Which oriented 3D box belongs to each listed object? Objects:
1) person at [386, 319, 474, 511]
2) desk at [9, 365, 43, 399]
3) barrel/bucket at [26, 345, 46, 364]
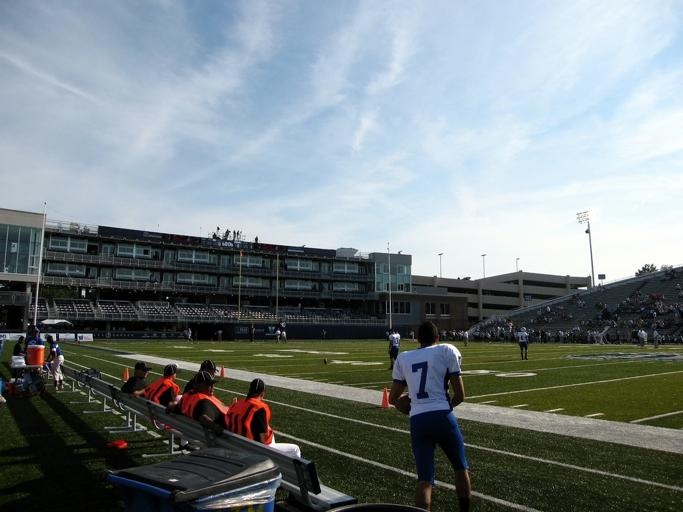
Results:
[{"bbox_3d":[0.980,1.800,5.237,0.800,2.087,0.387,-4,-7,11],"label":"person"},{"bbox_3d":[-8.843,3.530,13.096,0.776,0.799,1.452,2,-8,-35],"label":"desk"},{"bbox_3d":[-9.099,2.939,13.755,0.495,0.642,0.417,-1,-7,-18],"label":"barrel/bucket"}]
